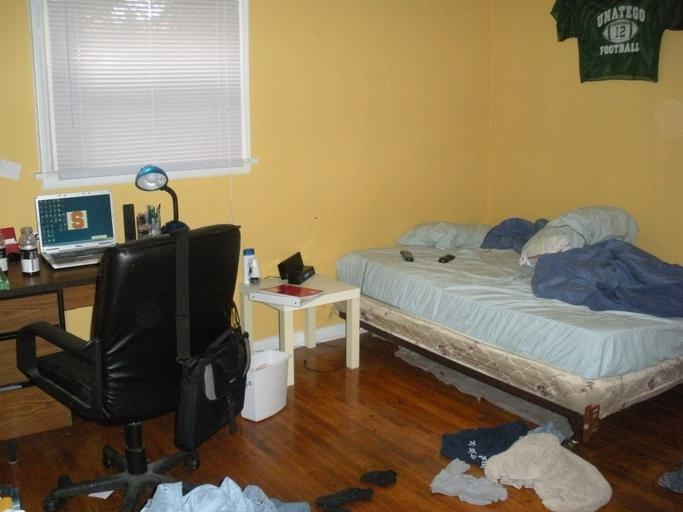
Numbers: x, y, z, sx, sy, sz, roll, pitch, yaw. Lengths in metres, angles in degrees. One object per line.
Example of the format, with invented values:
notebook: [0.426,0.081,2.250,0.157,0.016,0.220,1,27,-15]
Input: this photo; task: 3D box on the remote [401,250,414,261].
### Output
remote: [0.490,-0.003,3.926,0.059,0.024,0.091,5,14,-11]

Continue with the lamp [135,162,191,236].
lamp: [-0.889,-0.276,2.655,0.171,0.320,0.242,-14,-14,38]

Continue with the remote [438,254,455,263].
remote: [0.754,0.018,3.852,0.106,0.030,0.061,-14,13,-42]

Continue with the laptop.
laptop: [-1.420,-0.147,2.953,0.482,0.313,0.396,-2,21,-25]

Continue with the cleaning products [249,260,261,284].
cleaning products: [-0.576,0.097,3.581,0.058,0.163,0.081,6,17,30]
